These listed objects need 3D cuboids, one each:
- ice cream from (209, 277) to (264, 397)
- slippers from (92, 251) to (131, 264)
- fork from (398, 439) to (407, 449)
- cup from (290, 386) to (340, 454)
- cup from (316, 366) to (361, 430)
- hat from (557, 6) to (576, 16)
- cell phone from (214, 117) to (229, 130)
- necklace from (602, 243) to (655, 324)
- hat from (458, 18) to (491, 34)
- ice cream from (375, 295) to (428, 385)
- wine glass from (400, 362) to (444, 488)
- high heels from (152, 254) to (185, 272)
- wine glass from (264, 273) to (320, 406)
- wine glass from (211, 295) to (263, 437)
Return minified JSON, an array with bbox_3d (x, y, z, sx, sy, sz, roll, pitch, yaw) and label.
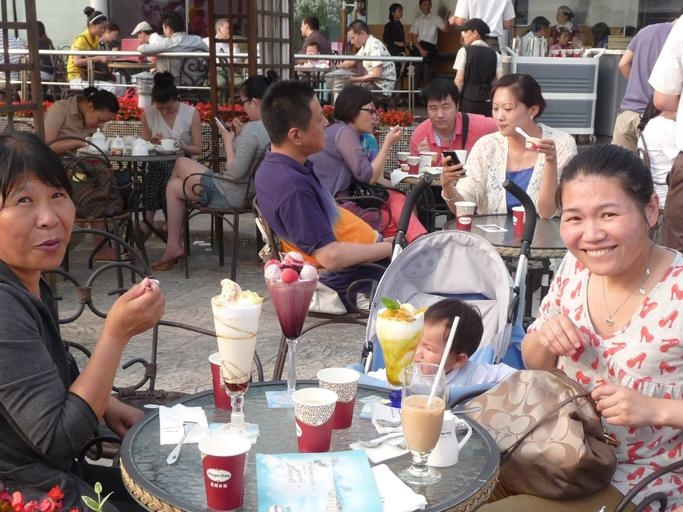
[{"bbox_3d":[-0.310,0.249,1.784,0.143,0.379,0.174,-4,18,-11],"label":"ice cream"},{"bbox_3d":[-2.086,0.011,5.261,0.324,0.121,0.115,-1,7,-1],"label":"slippers"},{"bbox_3d":[0.182,0.557,1.743,0.021,0.008,0.029,2,19,9],"label":"fork"},{"bbox_3d":[-0.069,0.459,1.696,0.175,0.162,0.170,0,3,0],"label":"cup"},{"bbox_3d":[0.004,0.450,1.894,0.184,0.185,0.177,1,10,0],"label":"cup"},{"bbox_3d":[5.104,-5.586,13.226,0.239,0.096,0.302,0,31,-36],"label":"hat"},{"bbox_3d":[-1.308,-1.469,6.395,0.112,0.048,0.207,28,17,-43],"label":"cell phone"},{"bbox_3d":[0.971,0.093,2.048,0.152,0.259,0.135,2,20,4],"label":"necklace"},{"bbox_3d":[1.709,-2.989,7.562,0.350,0.149,0.249,20,31,25],"label":"hat"},{"bbox_3d":[0.186,0.282,1.947,0.166,0.280,0.215,5,18,9],"label":"ice cream"},{"bbox_3d":[0.230,0.477,1.628,0.116,0.261,0.167,4,11,18],"label":"wine glass"},{"bbox_3d":[-1.761,0.068,5.954,0.290,0.107,0.156,-1,6,-11],"label":"high heels"},{"bbox_3d":[-0.166,0.274,1.989,0.201,0.404,0.221,3,20,5],"label":"wine glass"},{"bbox_3d":[-0.310,0.316,1.825,0.250,0.370,0.242,-5,12,-27],"label":"wine glass"}]
